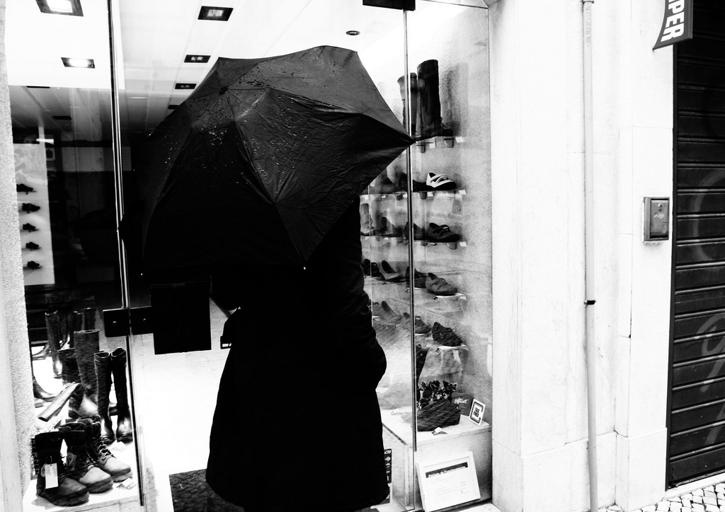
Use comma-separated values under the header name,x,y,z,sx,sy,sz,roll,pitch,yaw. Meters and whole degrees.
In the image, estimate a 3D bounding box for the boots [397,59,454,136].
name,x,y,z,sx,sy,sz,roll,pitch,yaw
boots,0.431,-1.082,4.084,0.470,0.532,0.435,-8,12,-23

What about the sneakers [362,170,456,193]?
name,x,y,z,sx,sy,sz,roll,pitch,yaw
sneakers,0.341,-0.561,4.142,0.599,0.189,0.205,-8,4,-20

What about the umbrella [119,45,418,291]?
name,x,y,z,sx,sy,sz,roll,pitch,yaw
umbrella,-0.396,-0.384,2.367,0.940,1.044,0.343,-19,-24,19
